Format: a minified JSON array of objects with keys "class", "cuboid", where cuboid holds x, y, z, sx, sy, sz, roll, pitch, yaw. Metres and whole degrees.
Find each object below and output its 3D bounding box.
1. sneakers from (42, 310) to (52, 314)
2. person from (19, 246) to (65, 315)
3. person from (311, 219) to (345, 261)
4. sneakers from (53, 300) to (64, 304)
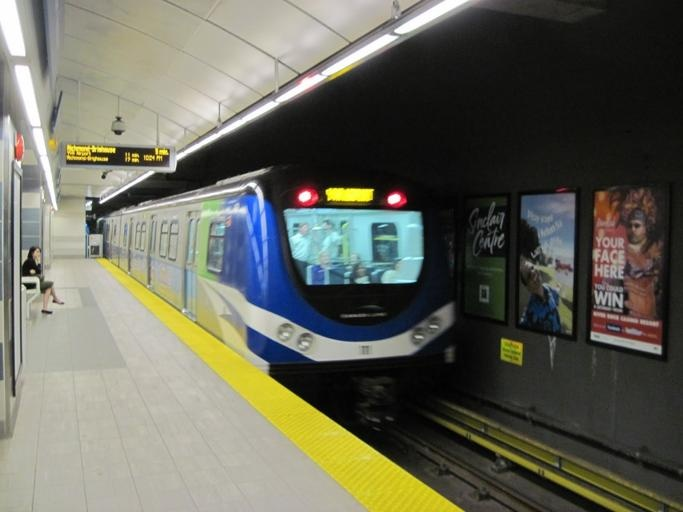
[{"class":"sneakers","cuboid":[-6.414,1.206,10.249,0.162,0.109,0.241,-3,5,-38]},{"class":"person","cuboid":[-6.957,0.501,10.974,0.758,1.507,2.629,-2,5,-31]},{"class":"person","cuboid":[-0.194,-0.190,5.938,0.338,0.836,0.258,-8,-19,33]},{"class":"sneakers","cuboid":[-6.870,1.118,11.392,0.120,0.151,0.346,-2,-2,-43]}]
